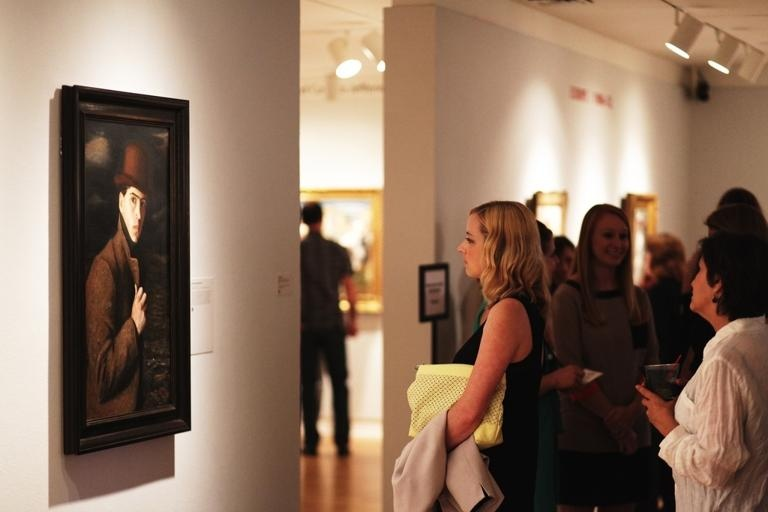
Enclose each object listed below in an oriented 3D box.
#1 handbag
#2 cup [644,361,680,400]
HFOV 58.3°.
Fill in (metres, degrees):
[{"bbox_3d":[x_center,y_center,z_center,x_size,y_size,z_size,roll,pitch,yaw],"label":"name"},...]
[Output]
[{"bbox_3d":[0.276,0.686,3.298,0.394,0.410,0.129,3,-11,27],"label":"handbag"},{"bbox_3d":[1.454,0.663,3.645,0.195,0.172,0.176,6,-11,-2],"label":"cup"}]
